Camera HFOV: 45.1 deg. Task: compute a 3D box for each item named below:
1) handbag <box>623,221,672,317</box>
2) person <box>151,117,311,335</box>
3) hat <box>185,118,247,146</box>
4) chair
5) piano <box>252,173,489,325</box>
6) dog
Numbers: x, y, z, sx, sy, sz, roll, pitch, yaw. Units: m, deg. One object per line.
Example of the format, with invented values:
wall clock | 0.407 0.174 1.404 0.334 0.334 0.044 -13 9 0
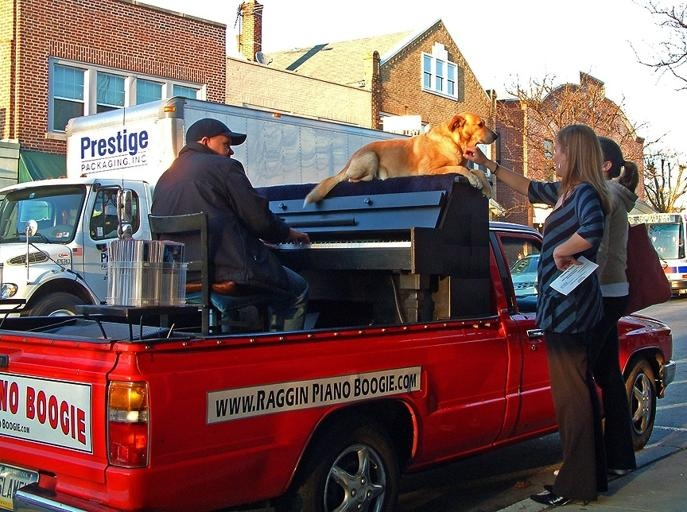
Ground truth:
handbag | 2.531 0.119 6.886 0.293 0.868 0.320 -3 7 -38
person | -0.911 -0.026 6.690 1.202 2.101 1.028 2 -8 -38
hat | -1.049 -1.019 6.811 0.394 0.199 0.257 -2 5 -16
chair | -0.939 0.104 6.043 0.742 0.921 0.665 -2 7 -40
piano | 0.068 -0.041 7.415 2.216 1.286 1.052 0 3 38
dog | 0.569 -0.954 7.699 1.784 0.832 0.816 -5 0 4
